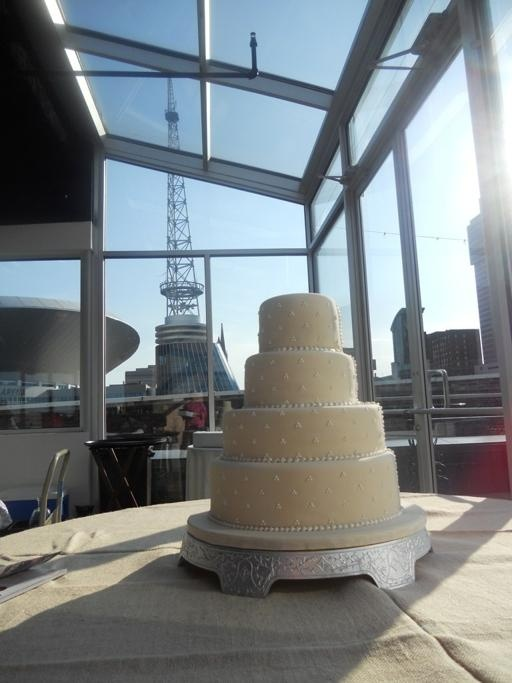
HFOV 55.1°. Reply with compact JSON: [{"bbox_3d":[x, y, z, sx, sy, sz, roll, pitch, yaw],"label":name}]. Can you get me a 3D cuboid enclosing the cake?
[{"bbox_3d":[0.088,0.120,1.122,0.388,0.525,0.413,-4,-9,26],"label":"cake"}]
